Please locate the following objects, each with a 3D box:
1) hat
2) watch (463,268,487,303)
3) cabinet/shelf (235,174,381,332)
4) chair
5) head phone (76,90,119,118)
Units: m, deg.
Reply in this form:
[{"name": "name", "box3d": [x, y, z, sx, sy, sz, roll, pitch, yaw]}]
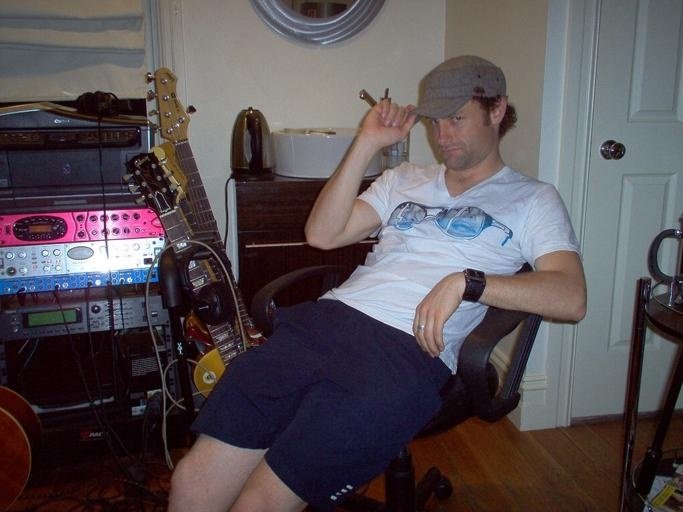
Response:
[{"name": "hat", "box3d": [0.394, -0.589, 1.852, 0.352, 0.200, 0.253, -16, 13, -27]}, {"name": "watch", "box3d": [0.379, 0.085, 1.573, 0.056, 0.090, 0.092, 8, 22, 0]}, {"name": "cabinet/shelf", "box3d": [-0.092, -0.024, 2.522, 0.751, 0.856, 0.522, -5, 22, -9]}, {"name": "chair", "box3d": [0.146, 0.408, 1.620, 0.488, 0.881, 0.540, 10, -25, 30]}, {"name": "head phone", "box3d": [-0.957, -0.593, 2.089, 0.127, 0.109, 0.071, -1, 55, -3]}]
